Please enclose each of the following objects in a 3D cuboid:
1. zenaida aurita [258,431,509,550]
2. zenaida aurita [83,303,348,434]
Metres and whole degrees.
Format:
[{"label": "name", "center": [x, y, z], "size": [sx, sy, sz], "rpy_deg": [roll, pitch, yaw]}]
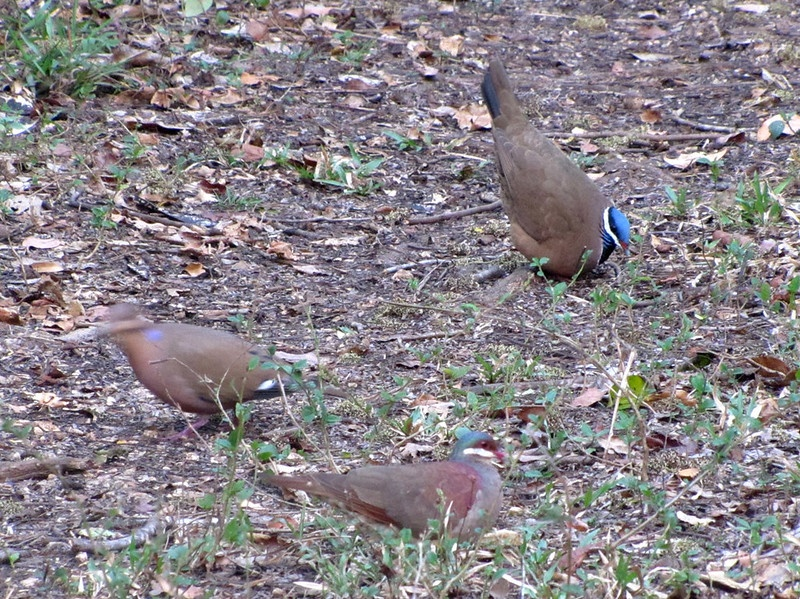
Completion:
[{"label": "zenaida aurita", "center": [-0.023, 0.874, 4.495], "size": [1.178, 0.398, 0.585], "rpy_deg": [16, 68, 2]}, {"label": "zenaida aurita", "center": [-1.083, 0.412, 5.020], "size": [1.009, 0.680, 0.535], "rpy_deg": [1, 43, -6]}]
